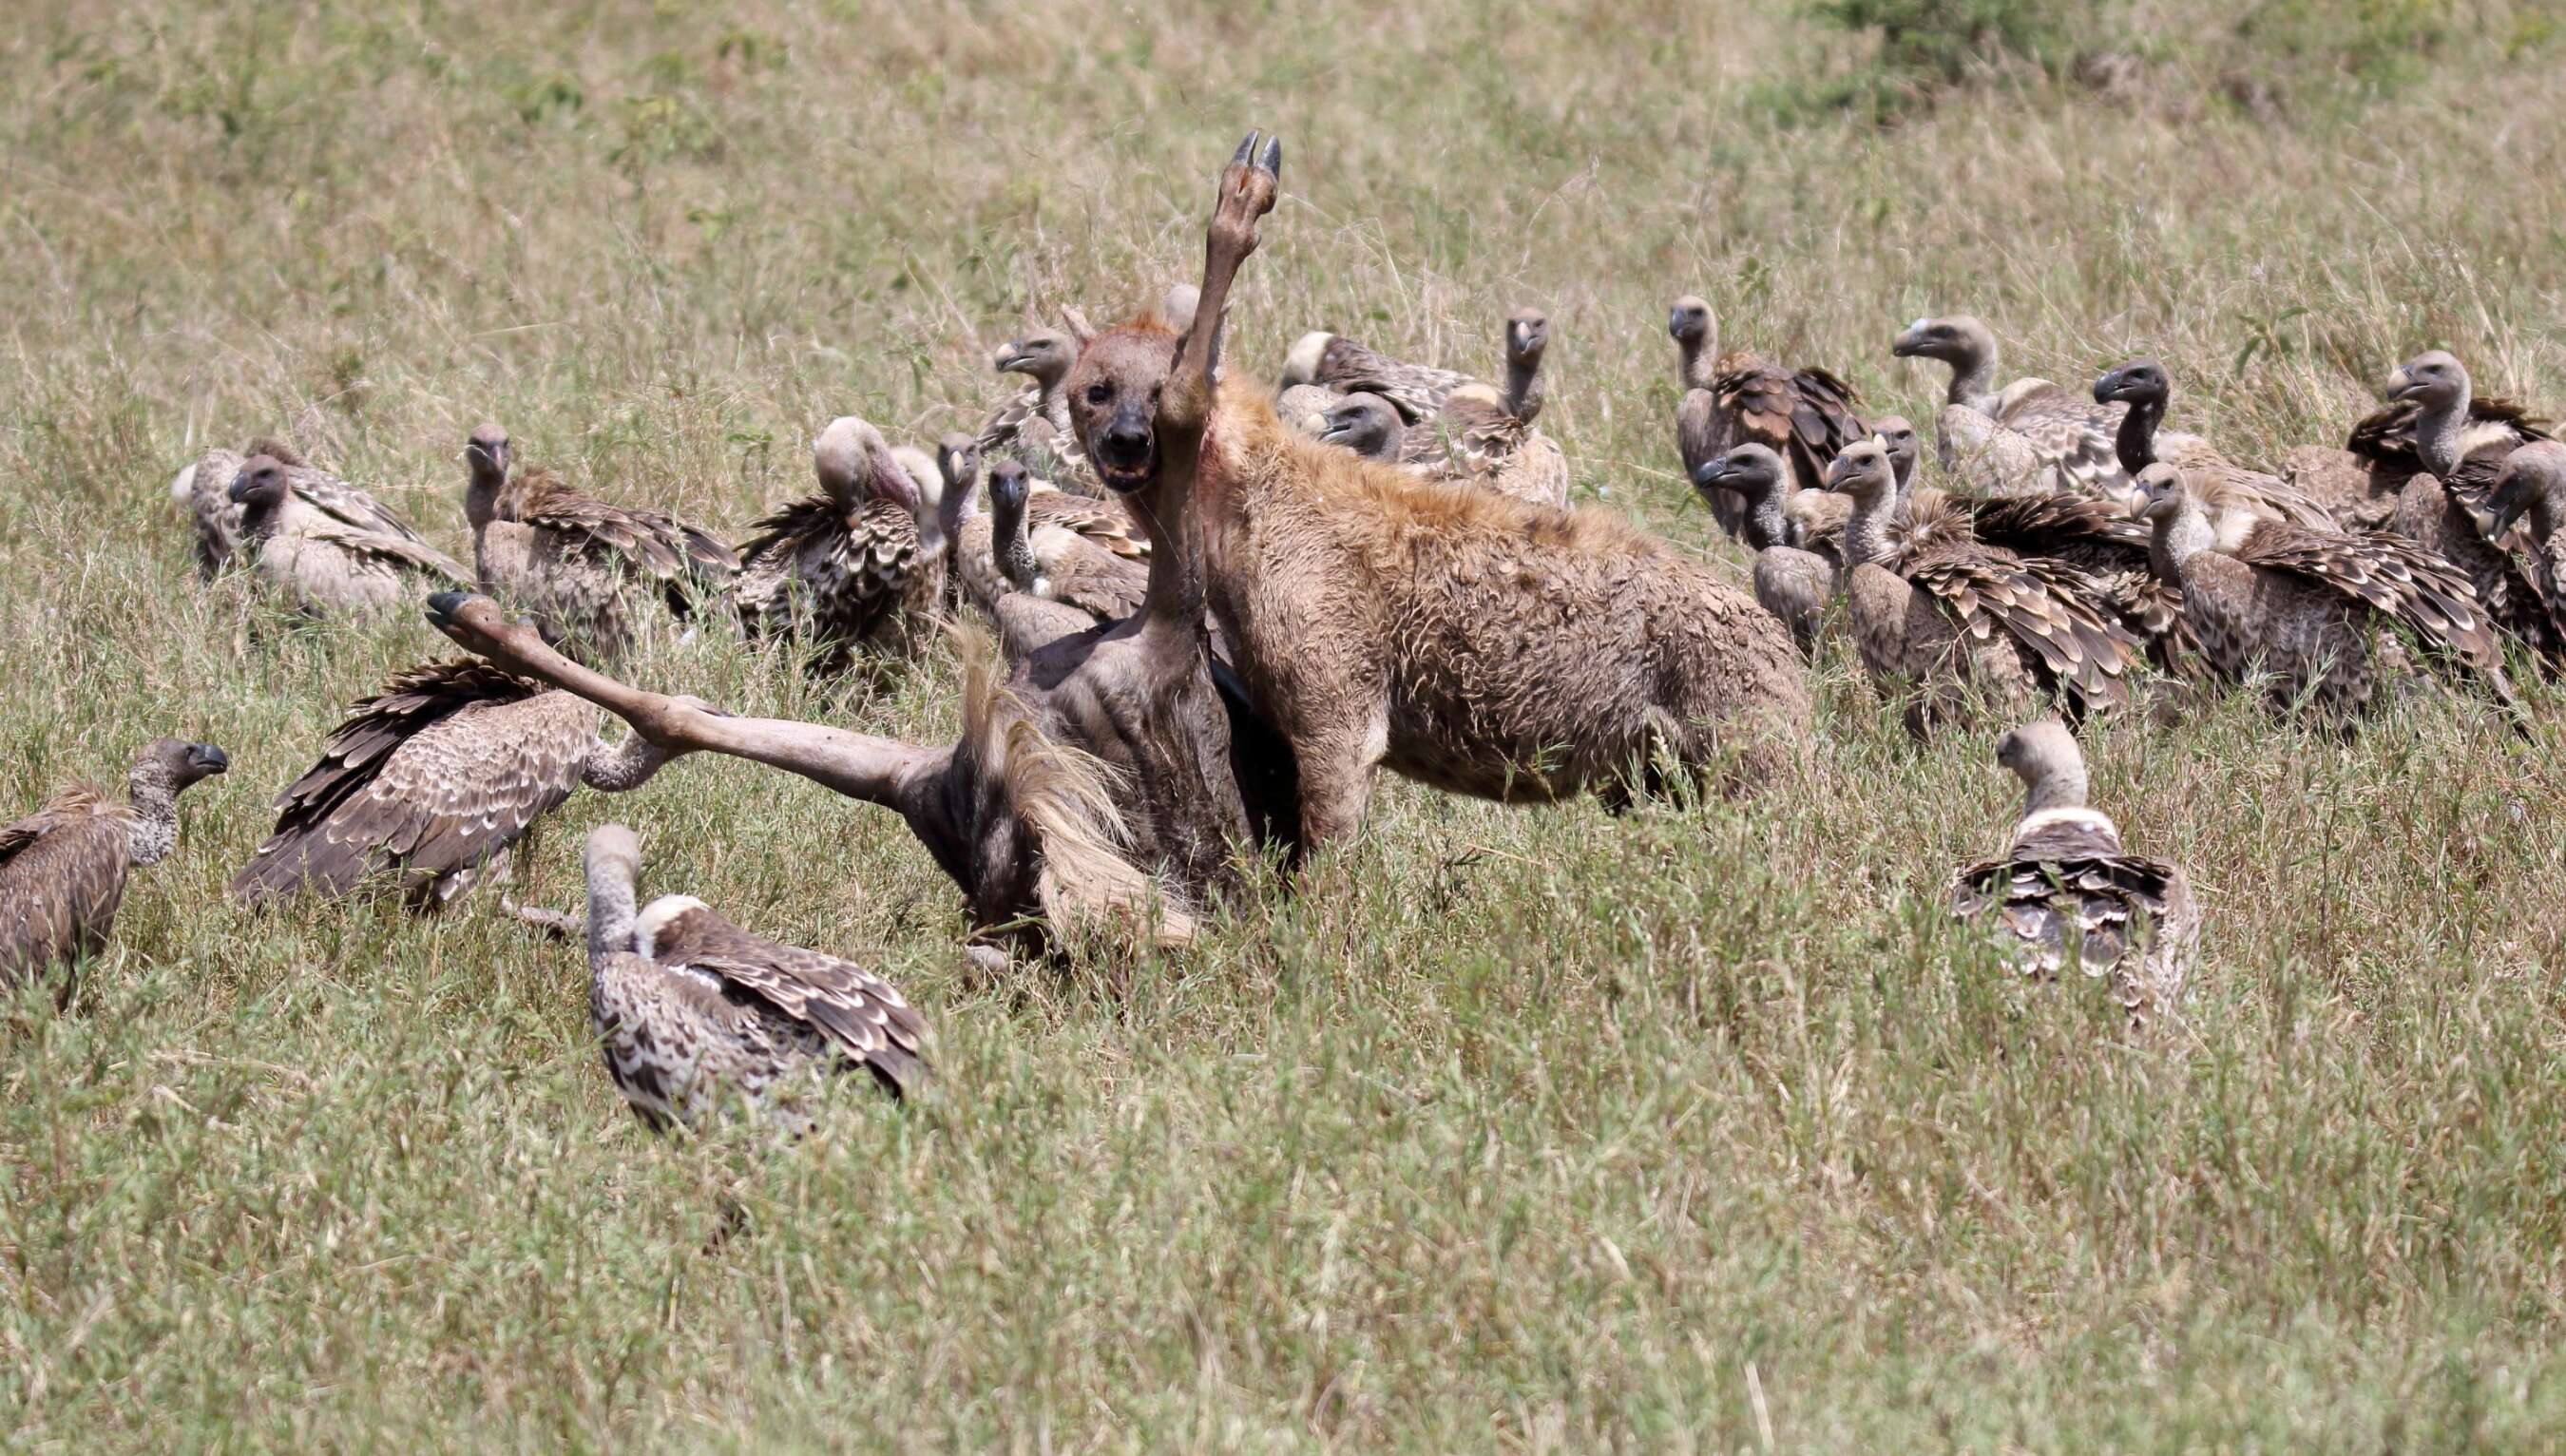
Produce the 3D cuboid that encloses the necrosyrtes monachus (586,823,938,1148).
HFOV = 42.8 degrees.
[{"bbox_3d":[-2.215,1.224,13.131,1.763,0.620,0.846,25,41,21],"label":"necrosyrtes monachus"}]
